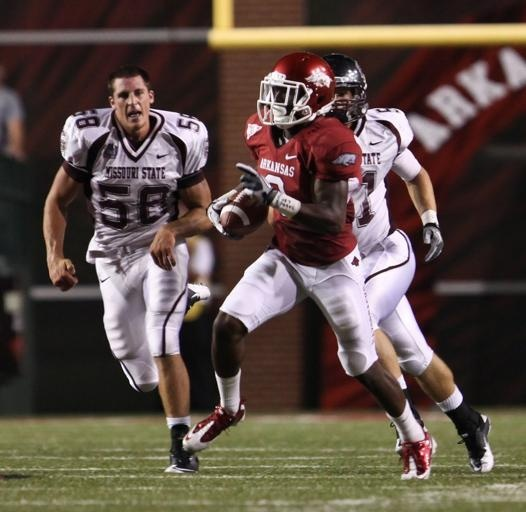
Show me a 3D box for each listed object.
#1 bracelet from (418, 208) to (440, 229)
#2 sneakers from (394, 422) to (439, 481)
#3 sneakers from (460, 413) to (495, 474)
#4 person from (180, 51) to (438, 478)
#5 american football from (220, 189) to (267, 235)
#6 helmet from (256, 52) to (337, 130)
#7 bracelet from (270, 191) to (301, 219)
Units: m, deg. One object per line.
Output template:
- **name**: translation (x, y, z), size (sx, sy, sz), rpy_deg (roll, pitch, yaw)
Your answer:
- **bracelet**: translation (0.771, -0.167, 4.017), size (0.087, 0.078, 0.074), rpy_deg (-3, 61, -10)
- **sneakers**: translation (0.579, 0.746, 3.364), size (0.087, 0.216, 0.099), rpy_deg (-11, -34, 36)
- **sneakers**: translation (0.888, 0.793, 3.680), size (0.129, 0.100, 0.265), rpy_deg (32, 38, -14)
- **person**: translation (0.253, 0.055, 3.453), size (0.980, 1.636, 0.720), rpy_deg (6, 21, 10)
- **american football**: translation (-0.082, -0.163, 3.358), size (0.148, 0.112, 0.199), rpy_deg (16, 23, 13)
- **helmet**: translation (0.125, -0.618, 3.296), size (0.364, 0.241, 0.264), rpy_deg (-8, 16, -39)
- **bracelet**: translation (0.080, -0.180, 3.129), size (0.123, 0.066, 0.049), rpy_deg (34, 14, -1)
